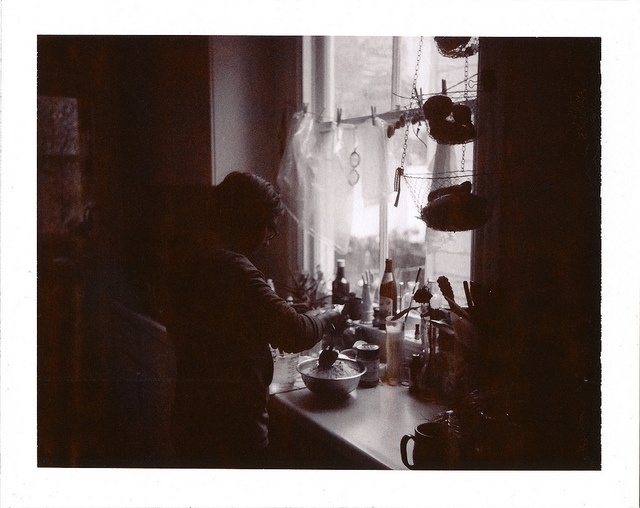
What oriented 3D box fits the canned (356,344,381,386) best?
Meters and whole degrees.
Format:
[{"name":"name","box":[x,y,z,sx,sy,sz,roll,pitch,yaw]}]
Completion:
[{"name":"canned","box":[0.176,0.401,2.486,0.095,0.176,0.106,0,-3,-12]}]

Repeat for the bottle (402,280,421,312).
[{"name":"bottle","box":[0.343,0.163,2.606,0.067,0.112,0.230,-1,1,3]}]

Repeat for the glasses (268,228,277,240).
[{"name":"glasses","box":[-0.156,-0.062,2.261,0.027,0.046,0.036,1,-10,4]}]

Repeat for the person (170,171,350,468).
[{"name":"person","box":[-0.237,0.224,2.239,0.513,0.957,0.277,0,1,21]}]

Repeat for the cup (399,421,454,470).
[{"name":"cup","box":[0.337,0.609,2.178,0.156,0.142,0.111,-2,1,-16]}]
